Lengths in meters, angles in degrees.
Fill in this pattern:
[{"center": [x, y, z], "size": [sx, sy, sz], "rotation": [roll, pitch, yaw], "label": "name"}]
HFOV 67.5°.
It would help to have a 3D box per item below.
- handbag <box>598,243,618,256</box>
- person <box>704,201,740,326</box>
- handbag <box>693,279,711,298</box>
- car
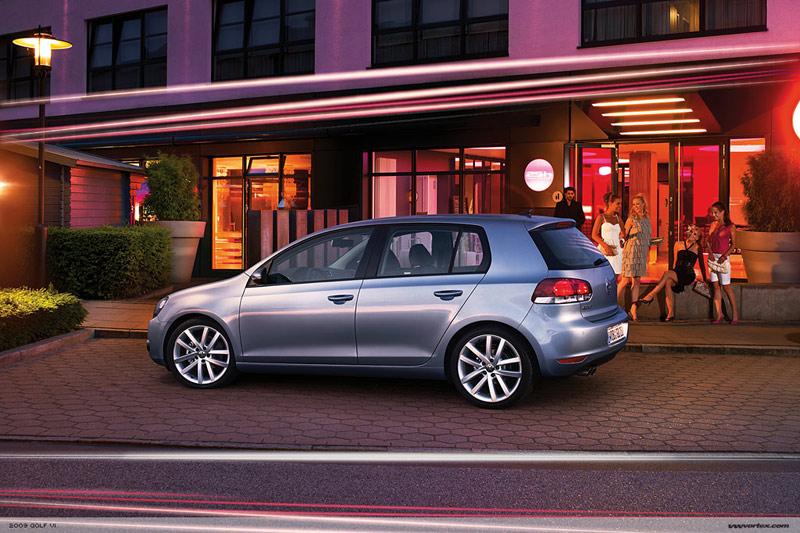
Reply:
[{"center": [4.396, -0.374, 12.559], "size": [0.457, 0.181, 0.236], "rotation": [5, 19, 16], "label": "handbag"}, {"center": [7.094, -0.117, 13.089], "size": [0.621, 2.601, 0.851], "rotation": [1, 2, 28], "label": "person"}, {"center": [6.792, 0.500, 13.355], "size": [0.462, 0.409, 0.289], "rotation": [7, 6, 20], "label": "handbag"}, {"center": [-0.173, 0.365, 8.063], "size": [5.568, 1.706, 2.437], "rotation": [1, 1, 13], "label": "car"}]
